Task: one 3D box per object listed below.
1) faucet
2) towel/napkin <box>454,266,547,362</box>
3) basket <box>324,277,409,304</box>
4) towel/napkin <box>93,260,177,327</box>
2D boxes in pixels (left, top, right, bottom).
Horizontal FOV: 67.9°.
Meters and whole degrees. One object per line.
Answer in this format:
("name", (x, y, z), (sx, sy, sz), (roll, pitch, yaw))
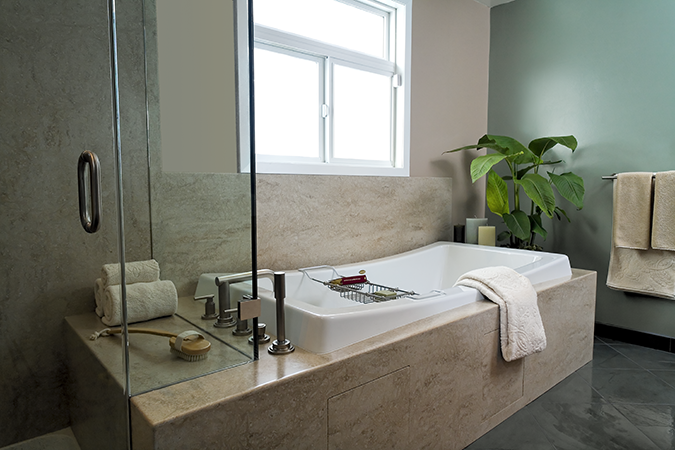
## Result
("faucet", (-0.423, 0.342, 2.377), (0.117, 0.233, 0.379), (5, 7, 43))
("towel/napkin", (0.944, 0.506, 3.075), (0.424, 0.365, 0.568), (-3, 7, -28))
("basket", (0.203, 0.423, 3.135), (0.227, 0.083, 0.360), (0, 6, -40))
("towel/napkin", (-0.905, 0.297, 2.251), (0.350, 0.306, 0.418), (-3, 6, -38))
